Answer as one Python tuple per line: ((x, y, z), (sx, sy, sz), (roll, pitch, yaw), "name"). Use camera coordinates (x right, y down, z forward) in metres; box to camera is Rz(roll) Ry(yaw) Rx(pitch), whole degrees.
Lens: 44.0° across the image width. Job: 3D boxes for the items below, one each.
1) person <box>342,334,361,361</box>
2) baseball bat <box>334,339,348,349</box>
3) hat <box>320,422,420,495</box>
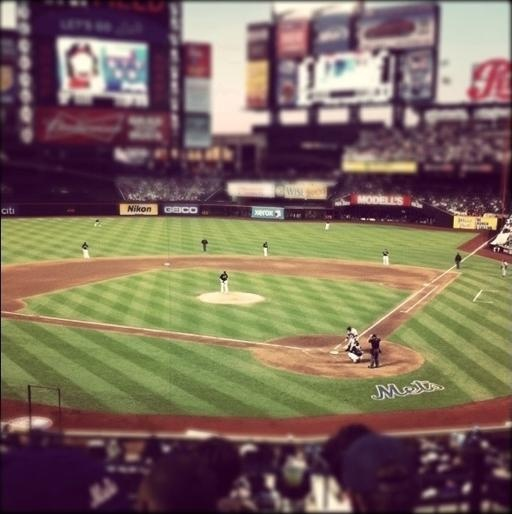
((3.148, 2.956, 20.401), (0.491, 0.902, 0.834), (-3, -10, 7), "person")
((2.953, 3.018, 21.922), (0.180, 0.026, 1.105), (20, 13, 23), "baseball bat")
((1.590, 3.027, 9.657), (1.057, 0.640, 1.308), (-10, 23, -23), "hat")
